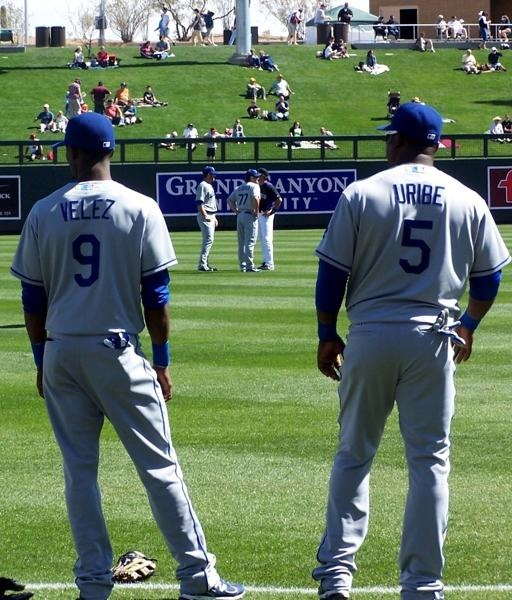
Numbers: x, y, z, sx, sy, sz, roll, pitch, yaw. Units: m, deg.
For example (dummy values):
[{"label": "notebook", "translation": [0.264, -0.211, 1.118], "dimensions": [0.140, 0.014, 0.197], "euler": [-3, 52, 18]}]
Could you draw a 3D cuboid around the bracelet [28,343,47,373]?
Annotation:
[{"label": "bracelet", "translation": [-1.241, 0.312, 9.523], "dimensions": [0.114, 0.207, 0.121], "euler": [-3, 2, -20]}]

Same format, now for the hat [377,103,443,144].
[{"label": "hat", "translation": [0.889, -1.001, 9.378], "dimensions": [0.193, 0.172, 0.279], "euler": [-12, 29, -37]}]

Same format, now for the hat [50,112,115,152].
[{"label": "hat", "translation": [-0.973, -0.950, 9.393], "dimensions": [0.261, 0.157, 0.187], "euler": [12, 19, 35]}]

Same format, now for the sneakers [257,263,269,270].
[{"label": "sneakers", "translation": [0.084, -0.407, 20.236], "dimensions": [0.055, 0.077, 0.170], "euler": [2, 2, -13]}]

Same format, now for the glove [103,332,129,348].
[{"label": "glove", "translation": [-0.787, 0.210, 9.203], "dimensions": [0.118, 0.074, 0.081], "euler": [-5, -1, -2]}]

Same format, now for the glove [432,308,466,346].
[{"label": "glove", "translation": [1.091, 0.148, 9.273], "dimensions": [0.071, 0.190, 0.183], "euler": [-42, -26, 26]}]
